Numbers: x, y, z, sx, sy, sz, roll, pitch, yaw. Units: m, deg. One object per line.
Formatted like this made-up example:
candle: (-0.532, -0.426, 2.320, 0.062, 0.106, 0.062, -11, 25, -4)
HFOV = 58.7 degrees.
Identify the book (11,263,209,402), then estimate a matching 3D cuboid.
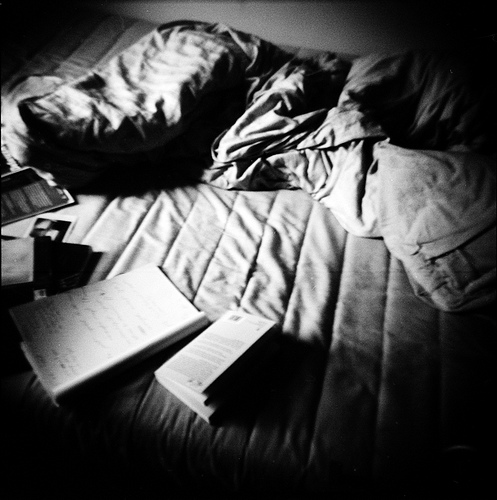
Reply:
book: (-0.247, 0.128, 0.768, 0.214, 0.050, 0.216, -22, 42, -32)

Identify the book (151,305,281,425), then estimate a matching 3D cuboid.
book: (-0.051, 0.181, 0.746, 0.138, 0.062, 0.193, 16, 36, 42)
